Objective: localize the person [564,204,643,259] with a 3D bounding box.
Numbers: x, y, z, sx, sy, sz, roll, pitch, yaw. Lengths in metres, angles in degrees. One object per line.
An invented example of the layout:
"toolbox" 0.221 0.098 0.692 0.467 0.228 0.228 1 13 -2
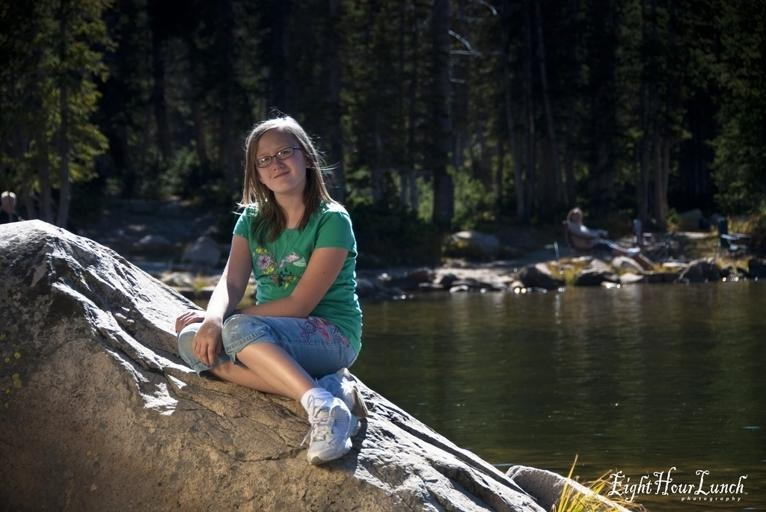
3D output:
"person" 3.785 -0.435 21.422 1.367 0.791 0.669 4 0 -2
